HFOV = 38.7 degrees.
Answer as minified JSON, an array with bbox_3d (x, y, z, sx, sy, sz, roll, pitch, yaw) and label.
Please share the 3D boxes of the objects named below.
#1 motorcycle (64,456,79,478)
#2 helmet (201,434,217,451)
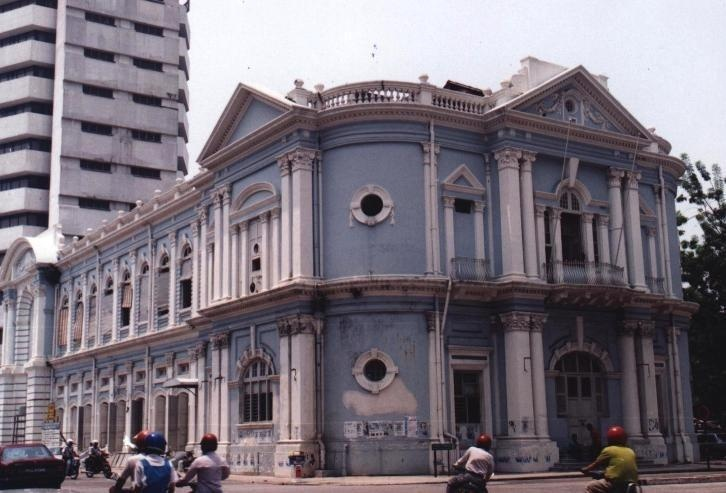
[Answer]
[{"bbox_3d":[-15.230,11.378,54.041,0.846,1.593,2.024,3,-19,-16],"label":"motorcycle"},{"bbox_3d":[-4.883,6.248,32.994,0.450,0.557,0.540,3,-1,-12],"label":"helmet"}]
